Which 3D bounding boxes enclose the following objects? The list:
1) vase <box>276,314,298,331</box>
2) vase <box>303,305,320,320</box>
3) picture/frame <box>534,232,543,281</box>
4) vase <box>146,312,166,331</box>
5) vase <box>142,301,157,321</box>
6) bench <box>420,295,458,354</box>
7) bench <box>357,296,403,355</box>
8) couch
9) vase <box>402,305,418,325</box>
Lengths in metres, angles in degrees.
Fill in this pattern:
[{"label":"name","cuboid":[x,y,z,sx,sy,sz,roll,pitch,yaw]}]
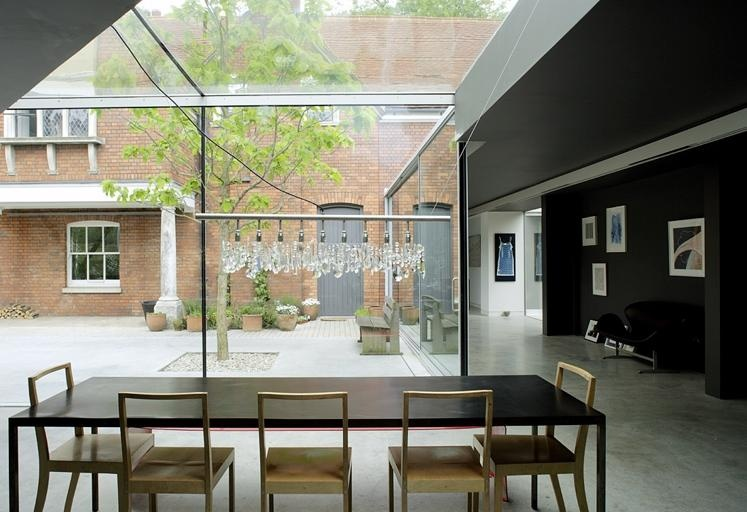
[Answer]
[{"label":"vase","cuboid":[-0.994,0.753,7.363,0.187,0.142,0.194,-2,-6,18]},{"label":"vase","cuboid":[-0.710,0.645,7.420,0.162,0.136,0.157,-4,-7,28]},{"label":"picture/frame","cuboid":[4.017,0.021,15.550,0.120,1.140,0.214,-2,9,-6]},{"label":"vase","cuboid":[-2.596,0.776,7.638,0.238,0.186,0.238,3,-7,-34]},{"label":"vase","cuboid":[-2.857,0.683,8.113,0.214,0.212,0.234,1,-5,1]},{"label":"bench","cuboid":[0.805,0.813,7.557,0.273,0.466,0.708,0,0,-3]},{"label":"bench","cuboid":[0.083,0.934,7.811,0.522,0.610,0.966,1,-3,-2]},{"label":"couch","cuboid":[3.999,1.090,9.100,0.672,0.928,1.351,-8,11,-40]},{"label":"vase","cuboid":[0.462,0.743,8.104,0.202,0.210,0.214,0,-3,-2]}]
